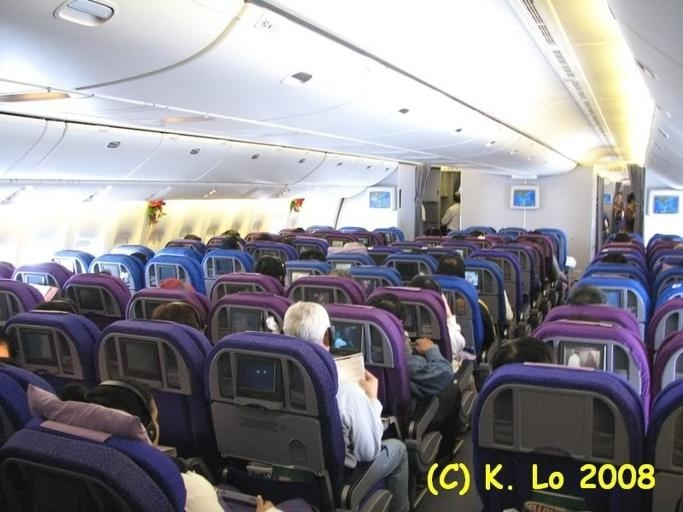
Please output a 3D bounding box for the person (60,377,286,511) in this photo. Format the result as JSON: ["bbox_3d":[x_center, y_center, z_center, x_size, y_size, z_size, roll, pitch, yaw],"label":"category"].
[{"bbox_3d":[-0.640,0.793,1.996,0.826,0.598,0.439,5,-7,-31],"label":"person"}]

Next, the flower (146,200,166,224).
[{"bbox_3d":[-3.932,-0.952,10.697,0.366,0.450,0.299,21,20,29],"label":"flower"}]
